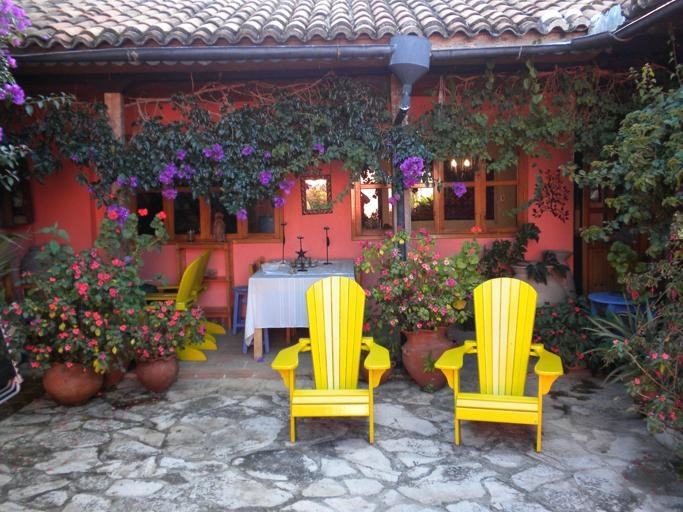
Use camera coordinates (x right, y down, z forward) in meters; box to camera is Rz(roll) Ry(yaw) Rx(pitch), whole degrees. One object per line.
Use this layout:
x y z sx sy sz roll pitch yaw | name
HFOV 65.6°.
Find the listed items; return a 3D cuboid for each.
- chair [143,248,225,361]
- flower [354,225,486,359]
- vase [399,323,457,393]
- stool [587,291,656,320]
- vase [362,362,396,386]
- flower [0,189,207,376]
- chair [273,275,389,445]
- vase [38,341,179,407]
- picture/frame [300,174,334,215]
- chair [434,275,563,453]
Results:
-1.771 0.628 6.281 1.202 1.336 0.969 1 1 -1 | chair
0.926 0.309 5.831 1.611 1.596 1.176 -1 1 -36 | flower
0.867 0.994 5.437 0.629 0.624 0.571 1 2 12 | vase
2.801 0.500 5.424 0.320 0.317 0.321 -1 0 -25 | stool
0.353 1.190 5.437 0.254 0.181 0.257 1 -5 -11 | vase
-2.378 0.380 5.249 1.750 1.505 0.902 -2 1 -24 | flower
-0.051 0.877 4.526 0.959 1.155 1.197 0 9 10 | chair
-2.276 1.157 5.260 1.227 0.456 0.514 2 1 -23 | vase
-0.331 -0.848 7.083 0.498 0.593 0.045 0 3 0 | picture/frame
1.286 0.903 4.281 1.017 1.172 0.988 -8 9 -31 | chair
